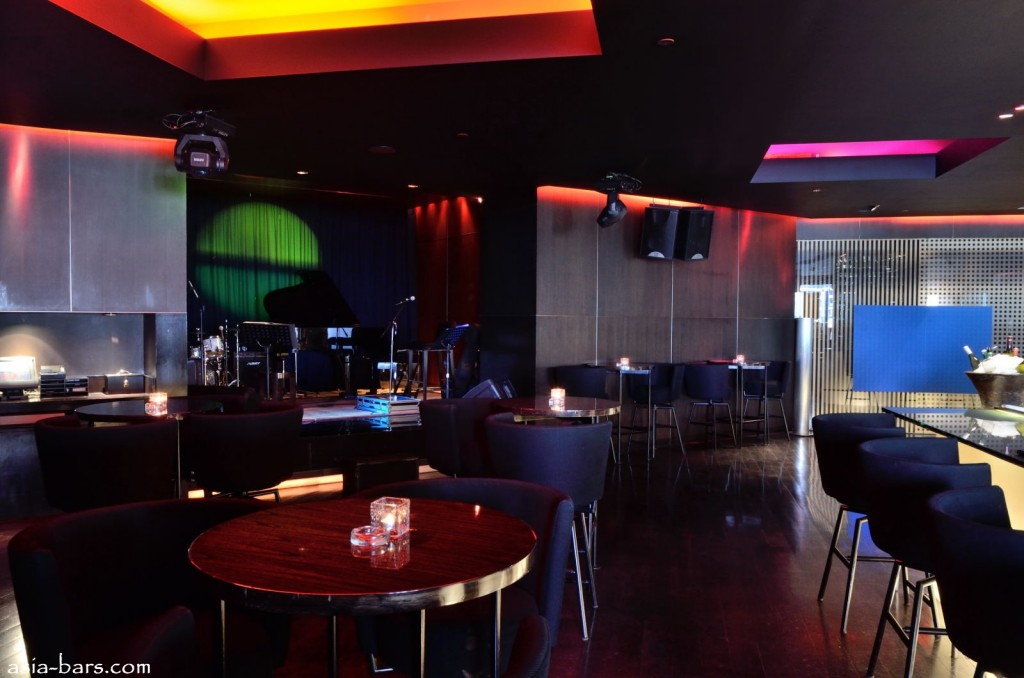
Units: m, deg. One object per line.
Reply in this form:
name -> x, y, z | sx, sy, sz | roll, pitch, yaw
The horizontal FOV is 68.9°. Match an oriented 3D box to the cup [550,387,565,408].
cup -> 0.389, 0.492, 6.313 | 0.128, 0.137, 0.127 | 1, -8, 0

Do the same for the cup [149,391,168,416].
cup -> -2.896, 0.529, 6.123 | 0.126, 0.132, 0.128 | 3, 4, 0

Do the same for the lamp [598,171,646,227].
lamp -> 1.220, -1.680, 8.976 | 0.580, 0.566, 0.537 | -1, 8, 18

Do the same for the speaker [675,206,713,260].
speaker -> 2.663, -1.515, 10.927 | 0.739, 0.680, 0.242 | -7, 15, -40

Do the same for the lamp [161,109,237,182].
lamp -> -2.755, -1.742, 6.760 | 0.627, 0.582, 0.315 | 4, 6, -2

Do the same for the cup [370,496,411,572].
cup -> -0.656, 0.957, 3.631 | 0.288, 0.396, 0.278 | -2, -16, 0

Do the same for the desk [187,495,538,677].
desk -> -0.704, 1.020, 3.469 | 1.159, 0.543, 1.120 | -2, 8, -19

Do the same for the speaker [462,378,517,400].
speaker -> -0.173, 0.573, 8.508 | 0.324, 0.145, 0.338 | -2, -1, 44

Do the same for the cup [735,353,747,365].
cup -> 3.362, 0.290, 10.999 | 0.122, 0.222, 0.123 | 7, -25, 3

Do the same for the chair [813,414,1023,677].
chair -> 2.454, 1.227, 4.487 | 0.724, 1.062, 1.583 | -2, 0, 5

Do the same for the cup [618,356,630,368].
cup -> 1.478, 0.299, 9.911 | 0.144, 0.159, 0.145 | 0, 6, 0
